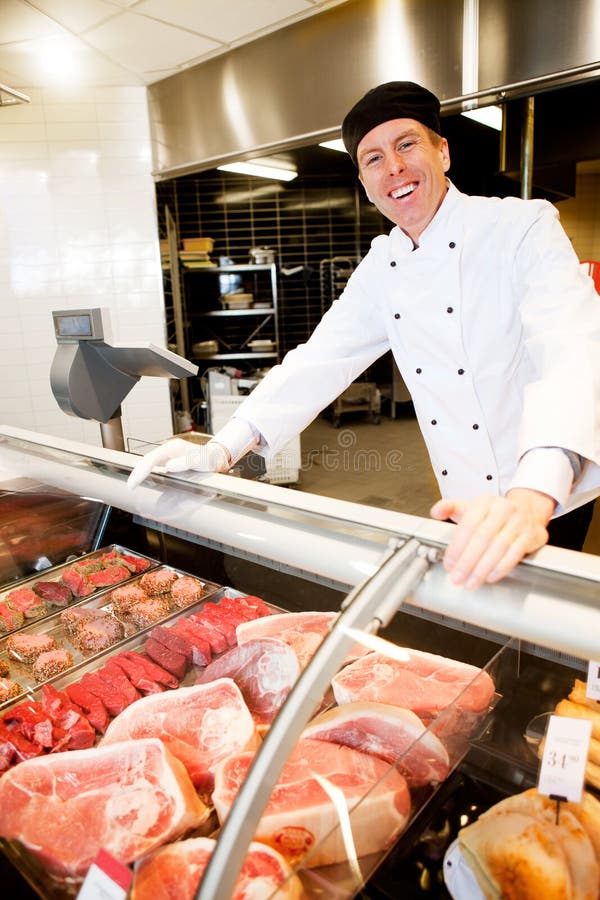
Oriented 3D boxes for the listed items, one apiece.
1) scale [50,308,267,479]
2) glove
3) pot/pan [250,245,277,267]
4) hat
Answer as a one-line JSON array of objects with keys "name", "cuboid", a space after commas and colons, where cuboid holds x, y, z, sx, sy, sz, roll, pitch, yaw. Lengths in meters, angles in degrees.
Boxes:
[{"name": "scale", "cuboid": [-0.329, -0.166, 1.447, 0.344, 0.488, 0.395, -27, 28, -36]}, {"name": "glove", "cuboid": [-0.225, 0.032, 1.118, 0.202, 0.098, 0.108, 3, -1, -35]}, {"name": "pot/pan", "cuboid": [-0.353, -1.788, 5.787, 0.293, 0.197, 0.288, 5, 8, -6]}, {"name": "hat", "cuboid": [0.186, -0.702, 1.335, 0.213, 0.148, 0.188, 1, 18, 15]}]
